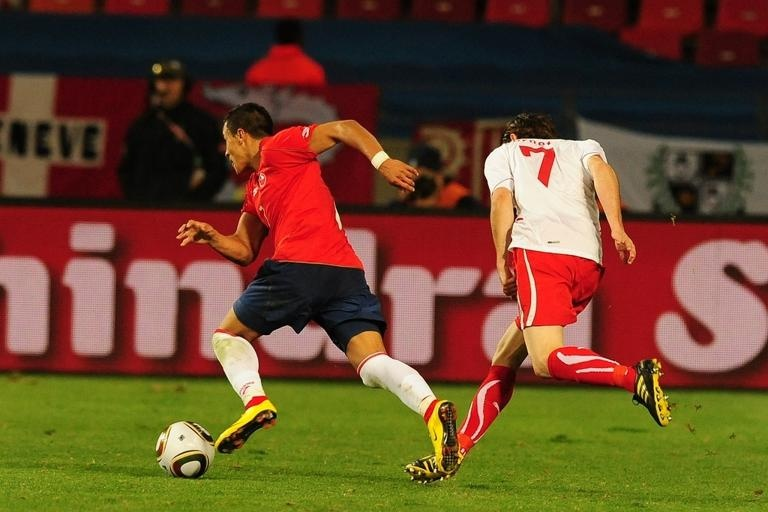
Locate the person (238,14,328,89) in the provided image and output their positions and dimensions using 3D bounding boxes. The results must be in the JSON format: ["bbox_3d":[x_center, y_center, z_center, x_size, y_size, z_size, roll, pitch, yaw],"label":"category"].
[{"bbox_3d":[-1.094,-2.249,12.658,0.877,0.756,1.042,0,8,-8],"label":"person"}]

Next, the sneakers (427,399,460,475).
[{"bbox_3d":[0.412,1.247,7.886,0.175,0.536,0.246,-4,4,-2],"label":"sneakers"}]

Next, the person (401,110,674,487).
[{"bbox_3d":[1.307,-0.035,8.181,1.264,1.918,0.721,4,8,20],"label":"person"}]

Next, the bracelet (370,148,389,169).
[{"bbox_3d":[-0.028,-0.685,8.047,0.130,0.087,0.127,-41,0,-44],"label":"bracelet"}]

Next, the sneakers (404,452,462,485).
[{"bbox_3d":[0.335,1.461,8.086,0.409,0.222,0.154,-6,-14,28],"label":"sneakers"}]

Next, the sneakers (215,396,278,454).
[{"bbox_3d":[-1.056,1.128,8.133,0.537,0.285,0.185,-17,-24,9],"label":"sneakers"}]
